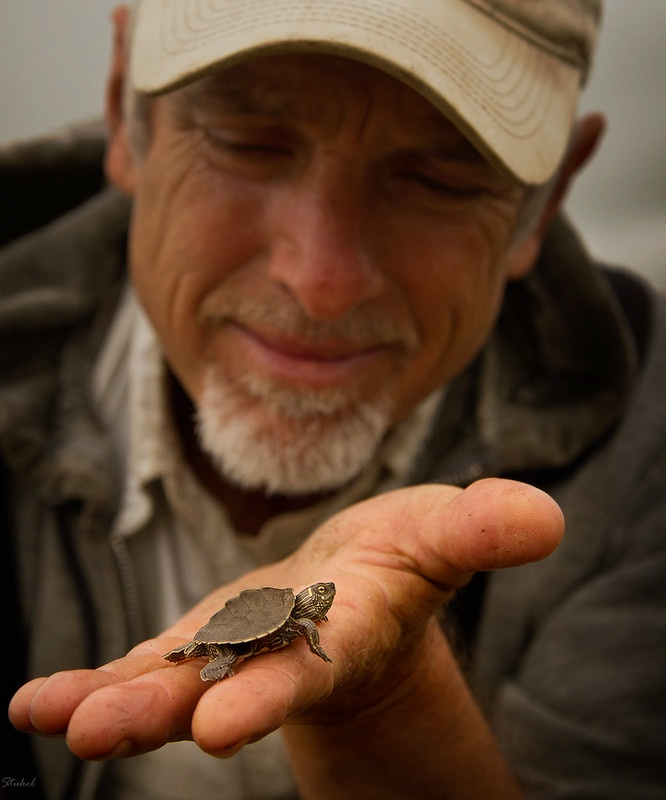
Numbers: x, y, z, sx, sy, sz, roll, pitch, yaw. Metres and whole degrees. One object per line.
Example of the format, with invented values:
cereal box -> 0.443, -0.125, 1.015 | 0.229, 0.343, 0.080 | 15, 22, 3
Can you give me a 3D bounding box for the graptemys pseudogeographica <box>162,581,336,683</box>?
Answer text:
graptemys pseudogeographica -> -0.153, 0.455, 1.985 | 0.255, 0.092, 0.188 | -17, 6, -8
